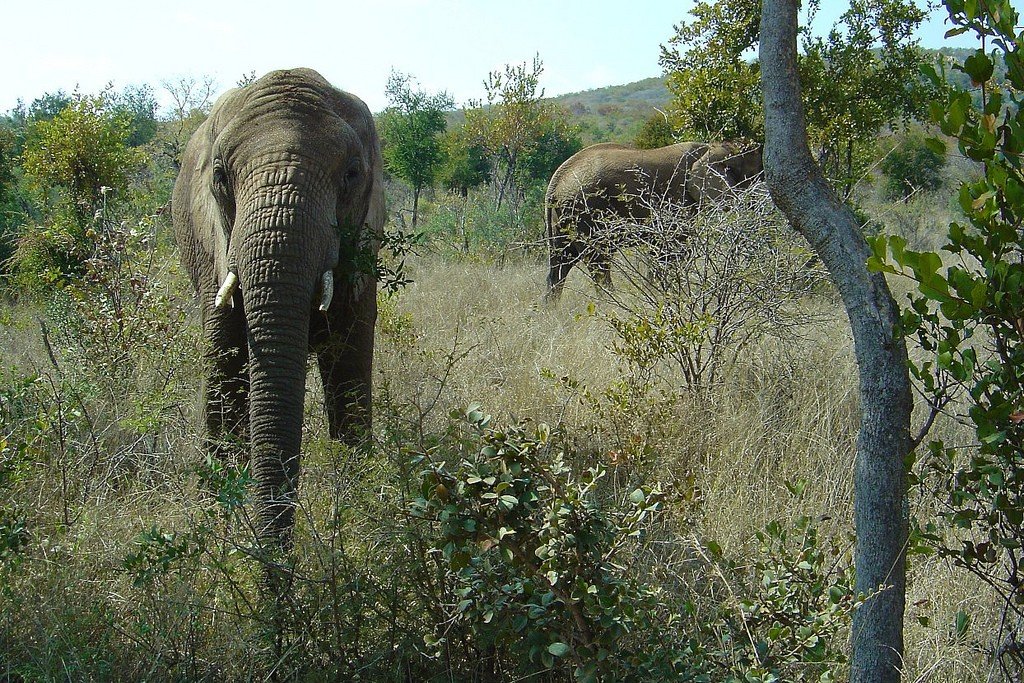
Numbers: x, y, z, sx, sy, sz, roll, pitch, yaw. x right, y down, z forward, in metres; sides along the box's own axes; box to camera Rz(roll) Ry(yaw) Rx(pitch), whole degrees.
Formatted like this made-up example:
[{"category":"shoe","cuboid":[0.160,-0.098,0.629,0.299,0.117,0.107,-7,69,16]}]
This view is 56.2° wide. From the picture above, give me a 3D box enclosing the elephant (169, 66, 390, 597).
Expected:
[{"category":"elephant","cuboid":[-1.875,-0.406,7.888,1.574,3.360,4.371,-1,2,-12]}]
